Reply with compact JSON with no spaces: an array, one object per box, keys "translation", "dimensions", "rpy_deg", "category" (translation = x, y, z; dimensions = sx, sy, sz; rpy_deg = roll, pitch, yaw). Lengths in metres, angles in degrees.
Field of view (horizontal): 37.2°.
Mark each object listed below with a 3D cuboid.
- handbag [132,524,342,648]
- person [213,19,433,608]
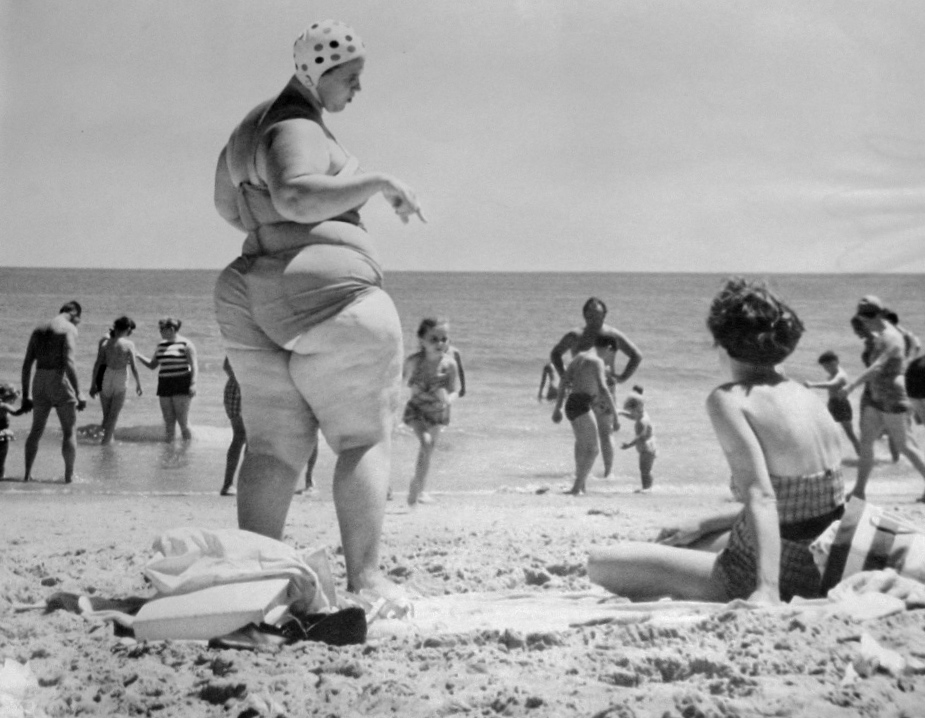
[{"translation":[-0.928,0.894,5.494],"dimensions":[0.748,0.402,0.398],"rpy_deg":[0,-2,2],"category":"handbag"},{"translation":[-0.656,-0.341,5.895],"dimensions":[0.878,2.213,0.557],"rpy_deg":[0,-2,1],"category":"person"}]
